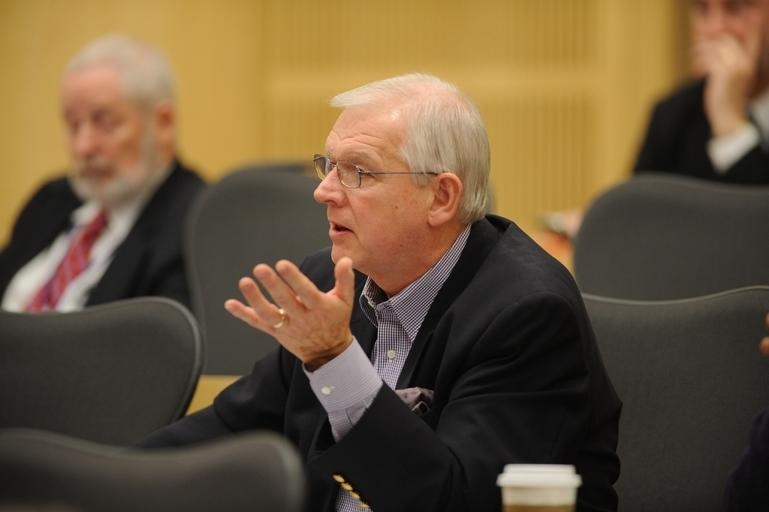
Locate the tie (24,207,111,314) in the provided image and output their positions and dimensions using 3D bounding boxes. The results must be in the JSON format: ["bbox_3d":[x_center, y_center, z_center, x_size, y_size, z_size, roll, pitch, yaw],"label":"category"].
[{"bbox_3d":[-1.115,0.030,2.880,0.506,0.125,0.032,-62,11,-27],"label":"tie"}]

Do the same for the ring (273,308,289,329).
[{"bbox_3d":[-0.191,0.117,1.506,0.026,0.033,0.012,-10,17,-27],"label":"ring"}]

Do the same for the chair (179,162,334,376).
[{"bbox_3d":[-0.317,0.005,2.722,0.543,0.860,0.580,-1,6,10],"label":"chair"}]
